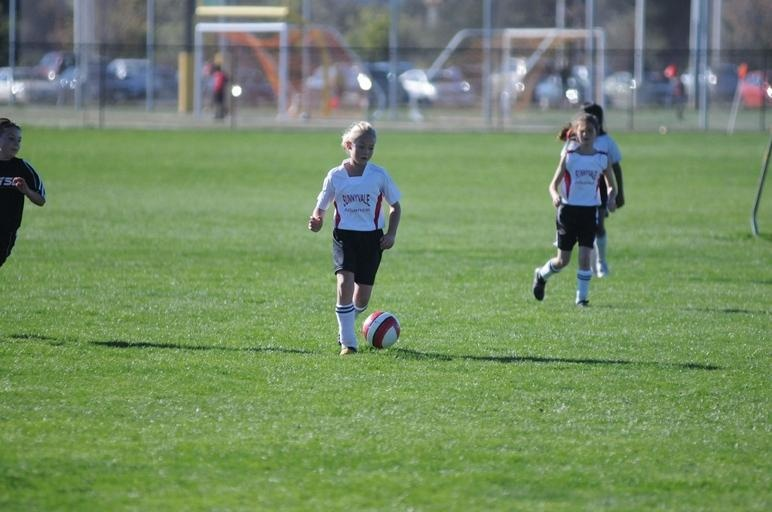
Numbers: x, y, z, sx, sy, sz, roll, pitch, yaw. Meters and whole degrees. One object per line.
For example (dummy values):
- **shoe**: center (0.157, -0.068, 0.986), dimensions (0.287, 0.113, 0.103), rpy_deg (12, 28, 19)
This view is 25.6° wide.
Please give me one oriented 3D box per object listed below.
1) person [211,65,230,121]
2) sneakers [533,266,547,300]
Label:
- **person**: center (-3.587, -3.483, 36.629), dimensions (0.345, 1.125, 1.180), rpy_deg (-1, 6, -5)
- **sneakers**: center (2.882, 0.452, 31.992), dimensions (0.227, 0.581, 0.263), rpy_deg (-5, 19, -12)
